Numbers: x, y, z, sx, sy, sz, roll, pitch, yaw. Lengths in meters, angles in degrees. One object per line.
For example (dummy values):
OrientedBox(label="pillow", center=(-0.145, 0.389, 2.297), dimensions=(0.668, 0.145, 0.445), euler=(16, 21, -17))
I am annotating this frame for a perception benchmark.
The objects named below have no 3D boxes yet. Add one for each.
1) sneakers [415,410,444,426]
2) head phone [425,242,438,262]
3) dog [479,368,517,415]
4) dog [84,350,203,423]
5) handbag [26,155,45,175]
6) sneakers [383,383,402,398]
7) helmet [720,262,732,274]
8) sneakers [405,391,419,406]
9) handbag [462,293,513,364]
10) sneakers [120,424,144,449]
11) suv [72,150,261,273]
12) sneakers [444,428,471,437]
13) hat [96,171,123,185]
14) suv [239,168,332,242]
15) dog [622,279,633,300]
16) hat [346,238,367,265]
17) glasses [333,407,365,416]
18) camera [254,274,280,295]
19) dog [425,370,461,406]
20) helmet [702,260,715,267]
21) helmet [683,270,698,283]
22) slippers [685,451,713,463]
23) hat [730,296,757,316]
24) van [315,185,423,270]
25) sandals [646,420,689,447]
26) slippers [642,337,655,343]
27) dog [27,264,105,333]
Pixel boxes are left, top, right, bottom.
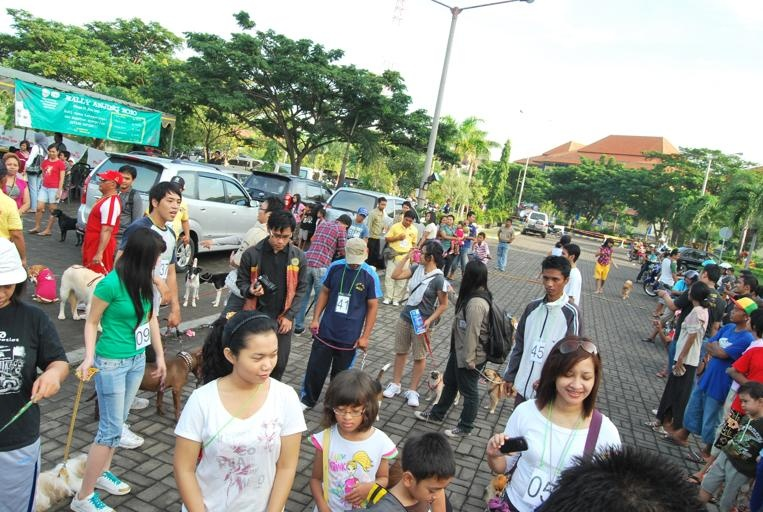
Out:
OrientedBox(label="sneakers", center=(0.650, 2.164, 6.692), dimensions=(0.359, 0.149, 0.147), euler=(13, 22, 13))
OrientedBox(label="head phone", center=(0.705, -0.050, 7.006), dimensions=(0.177, 0.244, 0.237), euler=(2, 10, 4))
OrientedBox(label="dog", center=(1.644, 1.977, 7.337), dimensions=(0.337, 0.587, 0.762), euler=(12, 9, 19))
OrientedBox(label="dog", center=(-2.681, 1.504, 5.741), dimensions=(0.383, 0.906, 1.636), euler=(5, -2, 32))
OrientedBox(label="handbag", center=(-9.067, -2.365, 13.057), dimensions=(0.359, 0.487, 0.256), euler=(34, -8, -41))
OrientedBox(label="sneakers", center=(0.160, 1.949, 7.206), dimensions=(0.131, 0.133, 0.295), euler=(15, 1, 23))
OrientedBox(label="helmet", center=(9.763, 0.364, 14.181), dimensions=(0.221, 0.312, 0.312), euler=(4, -23, 30))
OrientedBox(label="sneakers", center=(0.454, 2.007, 7.077), dimensions=(0.205, 0.201, 0.298), euler=(10, 9, 3))
OrientedBox(label="handbag", center=(1.200, 0.900, 6.374), dimensions=(0.802, 0.829, 0.584), euler=(-2, 11, -1))
OrientedBox(label="sneakers", center=(-2.707, 1.988, 5.446), dimensions=(0.236, 0.173, 0.187), euler=(8, 9, -10))
OrientedBox(label="suv", center=(-4.869, -1.216, 12.456), dimensions=(2.327, 2.191, 5.031), euler=(8, 10, 32))
OrientedBox(label="sneakers", center=(0.973, 2.257, 6.422), dimensions=(0.334, 0.139, 0.134), euler=(1, 14, 6))
OrientedBox(label="hat", center=(-4.212, -1.198, 7.785), dimensions=(0.315, 0.164, 0.215), euler=(16, 5, -45))
OrientedBox(label="suv", center=(-2.753, -1.809, 16.389), dimensions=(1.871, 1.794, 3.378), euler=(10, 18, 32))
OrientedBox(label="dog", center=(9.308, 1.323, 18.932), dimensions=(0.356, 0.570, 1.031), euler=(9, -14, 16))
OrientedBox(label="hat", center=(-0.316, -0.025, 6.143), dimensions=(0.225, 0.173, 0.329), euler=(3, 43, 3))
OrientedBox(label="glasses", center=(-0.259, 1.288, 4.108), dimensions=(0.236, 0.085, 0.060), euler=(8, 9, -11))
OrientedBox(label="camera", center=(-1.251, 0.320, 5.469), dimensions=(0.224, 0.160, 0.087), euler=(44, 0, 5))
OrientedBox(label="dog", center=(0.804, 1.865, 7.342), dimensions=(0.205, 0.476, 0.861), euler=(8, 0, 16))
OrientedBox(label="helmet", center=(8.892, 0.189, 13.583), dimensions=(0.211, 0.289, 0.228), euler=(4, -7, 36))
OrientedBox(label="helmet", center=(6.624, 0.447, 10.706), dimensions=(0.224, 0.217, 0.173), euler=(16, 15, 5))
OrientedBox(label="slippers", center=(4.344, 2.774, 6.841), dimensions=(0.313, 0.089, 0.136), euler=(-6, 23, 21))
OrientedBox(label="hat", center=(4.855, 0.683, 6.665), dimensions=(0.214, 0.183, 0.497), euler=(15, 10, 33))
OrientedBox(label="van", center=(-0.526, -0.848, 13.960), dimensions=(1.603, 1.523, 2.912), euler=(8, 16, 28))
OrientedBox(label="sandals", center=(4.208, 2.554, 7.355), dimensions=(0.183, 0.221, 0.538), euler=(-14, 25, -27))
OrientedBox(label="slippers", center=(6.597, 2.099, 12.347), dimensions=(0.298, 0.122, 0.112), euler=(5, 4, 14))
OrientedBox(label="dog", center=(-4.711, 0.630, 7.826), dimensions=(0.495, 0.962, 1.165), euler=(1, 12, -41))
